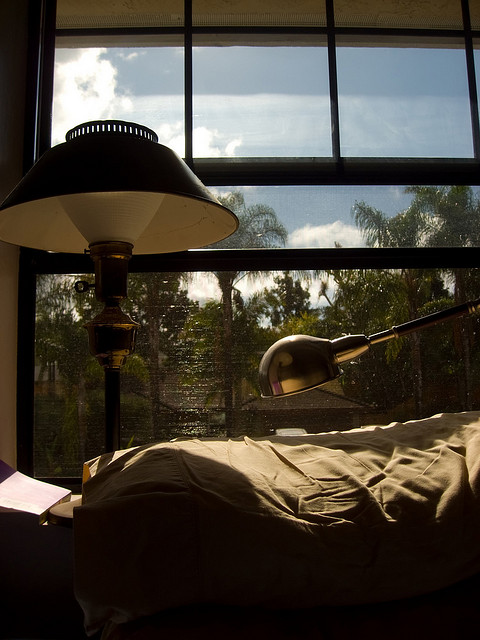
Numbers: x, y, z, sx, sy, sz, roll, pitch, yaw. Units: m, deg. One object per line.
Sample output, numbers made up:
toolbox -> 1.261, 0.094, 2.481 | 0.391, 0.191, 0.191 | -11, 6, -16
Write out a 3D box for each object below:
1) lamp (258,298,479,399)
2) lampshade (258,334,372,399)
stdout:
lamp -> 0.352, 0.083, 1.888 | 0.450, 0.133, 0.123 | -20, -13, -1
lampshade -> 0.110, 0.069, 1.038 | 0.134, 0.072, 0.087 | -19, -9, 2
